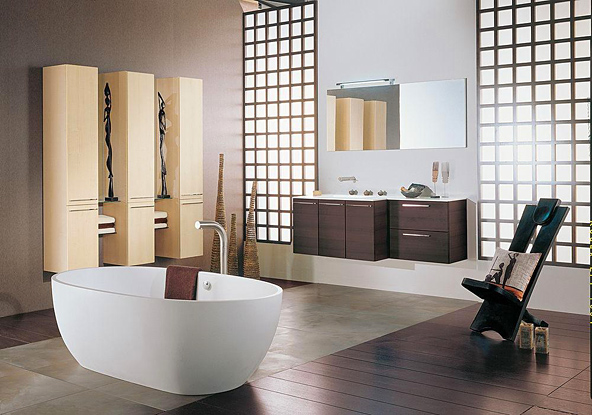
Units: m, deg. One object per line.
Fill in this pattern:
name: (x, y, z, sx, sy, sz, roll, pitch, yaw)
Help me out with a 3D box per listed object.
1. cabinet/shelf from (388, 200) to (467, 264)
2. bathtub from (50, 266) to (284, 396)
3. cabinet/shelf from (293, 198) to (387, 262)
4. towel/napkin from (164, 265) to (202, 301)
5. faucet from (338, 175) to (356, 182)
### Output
cabinet/shelf: (1.727, 0.290, 5.854, 0.739, 0.741, 0.911, -3, 3, -39)
bathtub: (-1.057, 0.955, 3.539, 1.923, 0.721, 0.901, 0, 3, 8)
cabinet/shelf: (0.614, 0.275, 6.137, 1.370, 0.791, 0.264, 2, 4, 34)
towel/napkin: (-1.008, 0.667, 3.939, 0.309, 0.307, 0.103, -2, -4, 17)
faucet: (0.753, -0.410, 6.480, 0.259, 0.093, 0.140, 0, 3, 8)
